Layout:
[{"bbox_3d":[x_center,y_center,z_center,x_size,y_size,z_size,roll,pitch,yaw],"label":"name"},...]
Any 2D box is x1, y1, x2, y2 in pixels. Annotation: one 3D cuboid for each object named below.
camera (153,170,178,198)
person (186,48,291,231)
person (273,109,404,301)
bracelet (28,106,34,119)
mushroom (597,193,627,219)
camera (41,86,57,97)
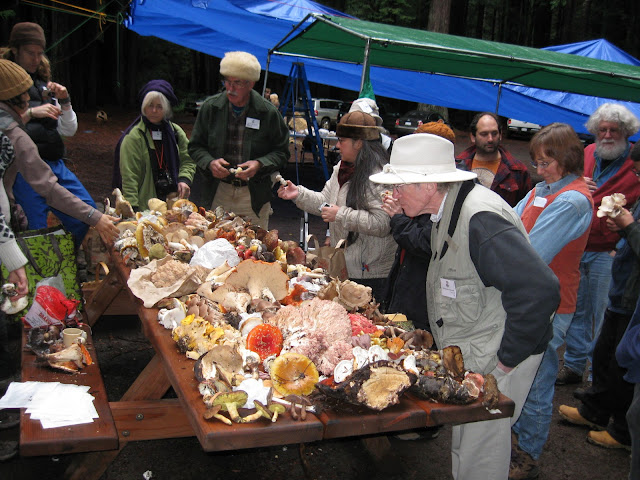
[{"bbox_3d":[-1.712,-0.622,5.502,0.228,0.282,0.106,3,12,-25],"label":"camera"},{"bbox_3d":[-0.832,-1.012,5.353,0.985,2.042,0.851,2,19,-11],"label":"person"},{"bbox_3d":[0.209,-0.296,4.153,0.897,1.619,0.937,-6,18,-34],"label":"person"},{"bbox_3d":[-2.783,-1.243,4.784,0.034,0.090,0.068,-12,33,-39],"label":"bracelet"},{"bbox_3d":[2.294,-0.273,3.860,0.107,0.203,0.193,29,49,-23],"label":"mushroom"},{"bbox_3d":[-2.742,-1.505,5.010,0.116,0.051,0.149,1,3,-30],"label":"camera"}]
